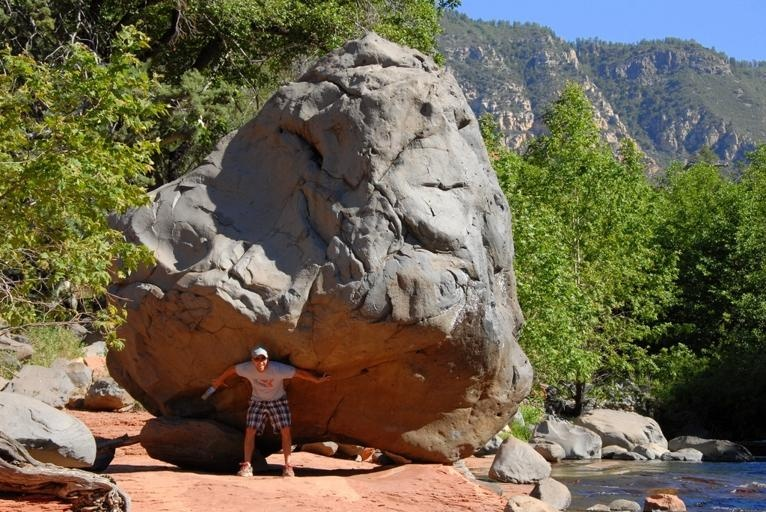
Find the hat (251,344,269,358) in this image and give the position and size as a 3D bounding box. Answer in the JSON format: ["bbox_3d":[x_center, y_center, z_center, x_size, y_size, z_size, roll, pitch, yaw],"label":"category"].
[{"bbox_3d":[-2.500,2.005,18.511,0.369,0.243,0.294,16,0,-18],"label":"hat"}]
